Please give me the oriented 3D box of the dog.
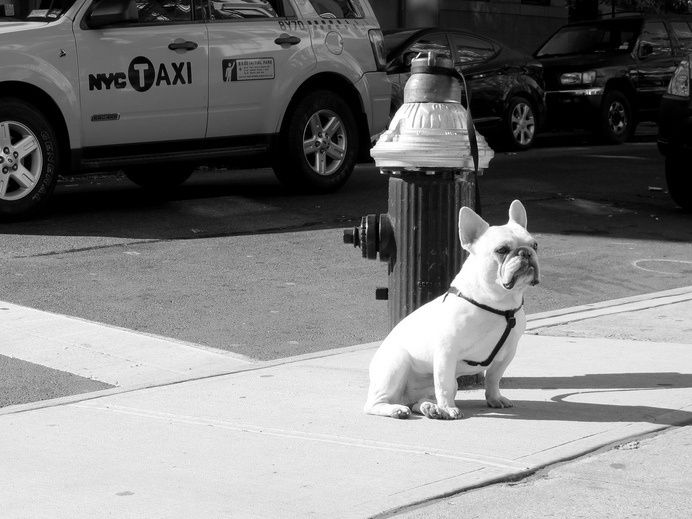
[{"bbox_3d":[0.470,0.260,4.269,0.762,0.992,0.355,0,15,1],"label":"dog"}]
